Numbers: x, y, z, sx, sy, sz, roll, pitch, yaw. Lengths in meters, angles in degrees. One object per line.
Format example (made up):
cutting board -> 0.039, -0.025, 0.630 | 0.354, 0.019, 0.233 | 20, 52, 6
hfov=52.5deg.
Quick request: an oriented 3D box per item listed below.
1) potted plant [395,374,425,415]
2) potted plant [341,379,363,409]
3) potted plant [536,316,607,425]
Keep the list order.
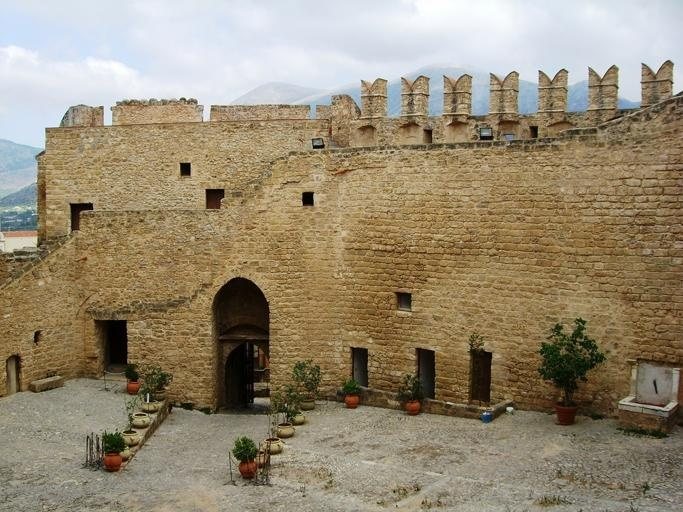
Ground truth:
potted plant -> 2.179, 4.400, 22.141 | 0.789, 1.001, 1.262 | -8, 11, -6
potted plant -> 0.310, 4.621, 23.194 | 0.990, 0.977, 0.812 | 0, -10, -1
potted plant -> 6.567, 3.234, 20.016 | 1.729, 2.938, 1.307 | -8, 12, -6
